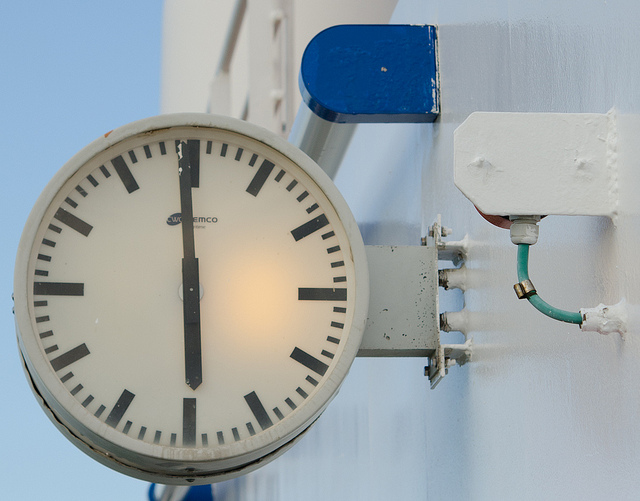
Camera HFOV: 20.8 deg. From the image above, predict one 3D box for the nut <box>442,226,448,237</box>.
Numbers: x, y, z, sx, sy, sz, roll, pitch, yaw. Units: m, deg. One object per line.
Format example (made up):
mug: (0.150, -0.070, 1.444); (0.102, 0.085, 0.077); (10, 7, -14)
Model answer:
nut: (0.309, -0.037, 4.274); (0.016, 0.023, 0.035); (-1, 85, 7)

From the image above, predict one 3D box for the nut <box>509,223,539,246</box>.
nut: (0.438, -0.029, 3.748); (0.043, 0.046, 0.035); (3, 75, -1)

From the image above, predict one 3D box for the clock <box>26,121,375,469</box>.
clock: (-0.290, 0.106, 4.041); (0.738, 0.194, 0.825); (0, 80, -10)

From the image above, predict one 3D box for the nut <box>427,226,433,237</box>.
nut: (0.271, -0.035, 4.275); (0.016, 0.032, 0.023); (0, 84, 3)
